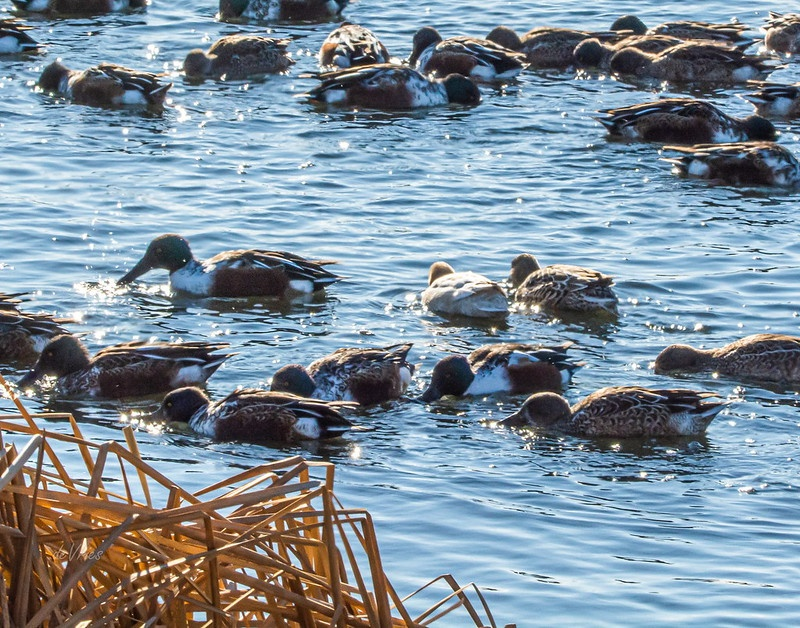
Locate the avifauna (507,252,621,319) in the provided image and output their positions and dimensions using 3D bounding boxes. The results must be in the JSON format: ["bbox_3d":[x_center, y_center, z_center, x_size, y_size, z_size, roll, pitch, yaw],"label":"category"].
[{"bbox_3d":[1.942,-0.314,18.805,0.657,0.458,1.300,-1,7,-37],"label":"avifauna"}]

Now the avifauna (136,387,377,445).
[{"bbox_3d":[-1.469,1.046,15.897,2.369,0.592,0.665,-1,-8,5],"label":"avifauna"}]

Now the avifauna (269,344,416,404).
[{"bbox_3d":[-0.570,0.691,16.531,1.378,0.418,0.597,-12,6,-13],"label":"avifauna"}]
